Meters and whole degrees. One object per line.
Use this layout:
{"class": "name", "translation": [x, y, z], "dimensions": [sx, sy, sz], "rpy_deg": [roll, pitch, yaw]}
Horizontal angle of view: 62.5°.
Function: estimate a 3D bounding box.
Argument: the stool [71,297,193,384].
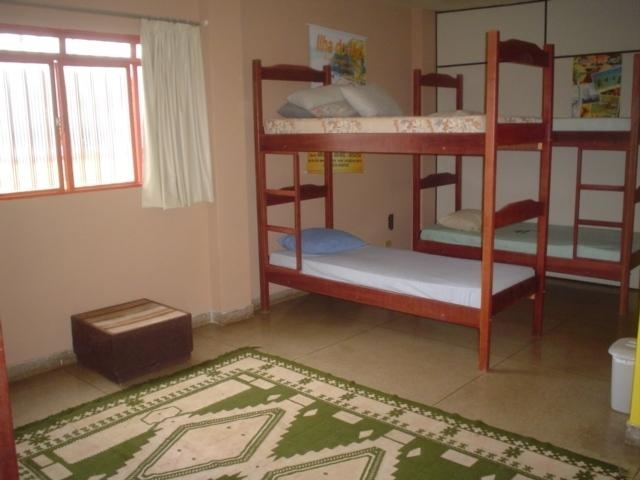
{"class": "stool", "translation": [-1.768, 0.780, 4.647], "dimensions": [0.725, 0.404, 0.739], "rpy_deg": [7, 9, 40]}
